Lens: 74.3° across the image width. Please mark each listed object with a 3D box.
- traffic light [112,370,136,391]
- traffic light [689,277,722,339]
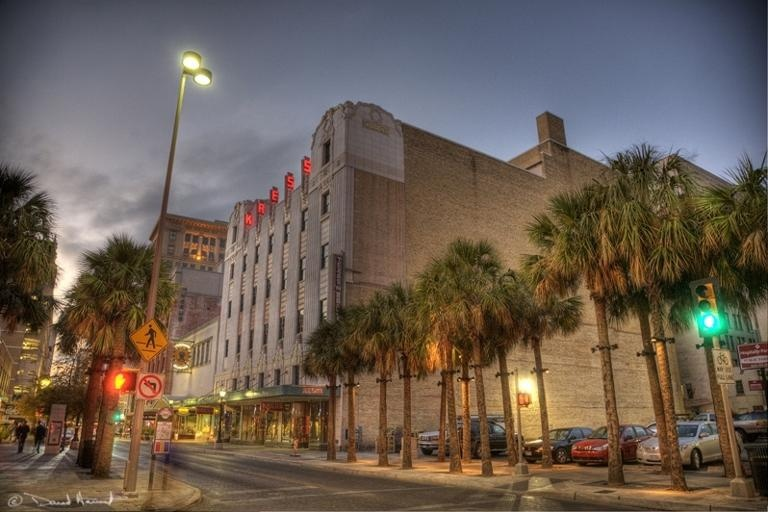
[{"bbox_3d":[-10.615,5.126,20.705,0.790,0.801,0.816,-16,-34,35],"label":"traffic light"},{"bbox_3d":[11.557,1.798,18.079,0.717,2.006,0.937,7,-21,-25],"label":"traffic light"}]
